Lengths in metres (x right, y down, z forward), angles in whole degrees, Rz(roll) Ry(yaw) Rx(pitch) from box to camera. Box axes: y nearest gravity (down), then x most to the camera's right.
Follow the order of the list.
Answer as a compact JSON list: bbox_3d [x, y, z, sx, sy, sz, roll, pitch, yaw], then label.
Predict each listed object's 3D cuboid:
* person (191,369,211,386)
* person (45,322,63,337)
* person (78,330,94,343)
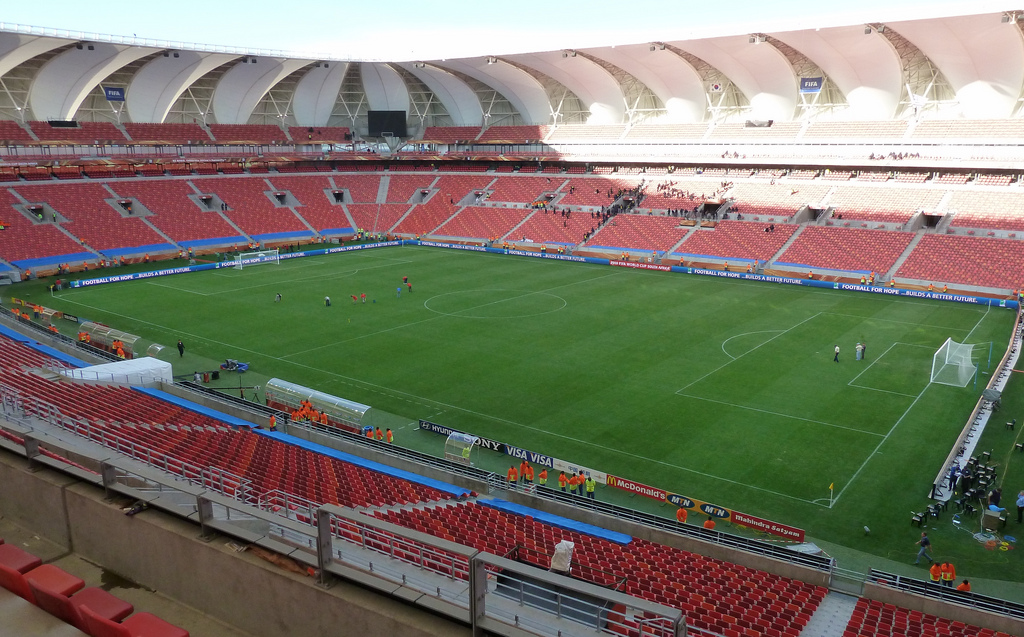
[{"bbox_3d":[-19.980,3.750,48.333,1.399,0.660,1.039,5,14,12],"label":"person"},{"bbox_3d":[-33.114,0.824,54.474,0.978,0.540,1.802,5,13,-14],"label":"person"},{"bbox_3d":[-30.053,1.285,53.201,0.879,0.912,1.396,-5,-4,41],"label":"person"}]
